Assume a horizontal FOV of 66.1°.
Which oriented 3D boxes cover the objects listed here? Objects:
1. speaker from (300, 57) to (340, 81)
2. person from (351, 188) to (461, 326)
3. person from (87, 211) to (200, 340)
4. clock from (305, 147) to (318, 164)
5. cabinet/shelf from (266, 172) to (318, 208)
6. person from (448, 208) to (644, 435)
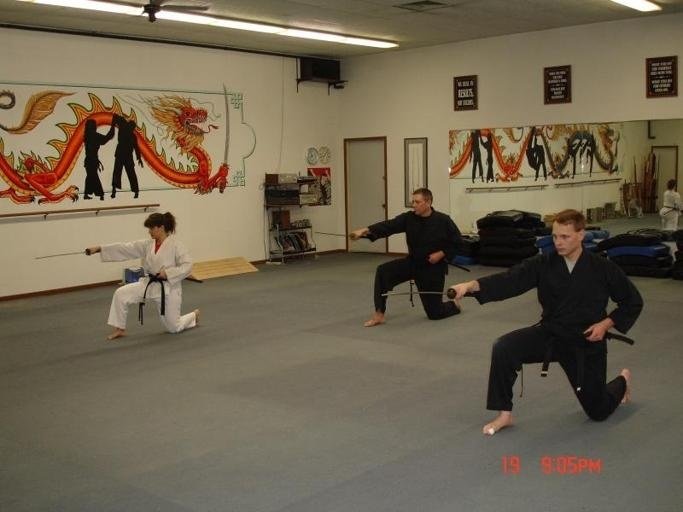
[{"bbox_3d":[-0.468,-3.955,11.133,0.956,0.475,0.337,-10,13,-43],"label":"speaker"},{"bbox_3d":[0.848,0.004,6.162,1.110,1.543,0.471,-2,9,1],"label":"person"},{"bbox_3d":[-2.246,0.252,5.975,1.419,1.399,0.540,1,5,-28],"label":"person"},{"bbox_3d":[-0.626,-2.161,11.357,0.055,0.372,0.353,6,12,41],"label":"clock"},{"bbox_3d":[-1.010,-1.348,10.742,0.461,0.665,1.111,7,10,39],"label":"cabinet/shelf"},{"bbox_3d":[1.408,0.446,3.531,1.571,1.360,0.540,-1,5,-10],"label":"person"}]
